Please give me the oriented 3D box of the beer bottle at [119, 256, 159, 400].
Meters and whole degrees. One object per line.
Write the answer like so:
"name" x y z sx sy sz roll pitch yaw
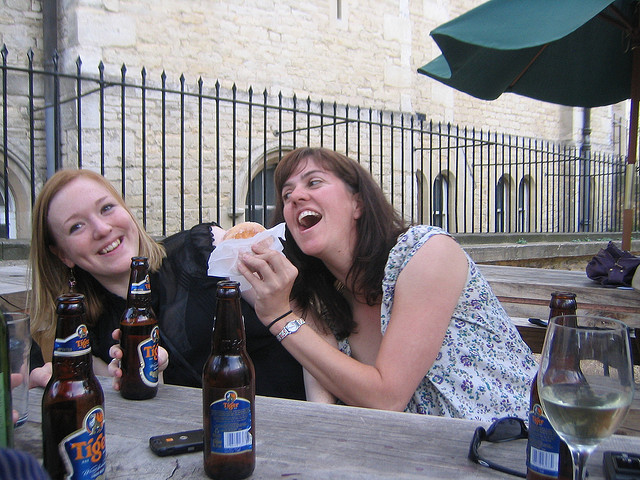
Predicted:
"beer bottle" -0.672 0.321 2.117 0.142 0.501 0.143 0 8 0

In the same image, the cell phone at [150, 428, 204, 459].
"cell phone" -0.444 0.620 1.772 0.129 0.021 0.077 -4 11 -25

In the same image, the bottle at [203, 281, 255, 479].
"bottle" -0.270 0.403 1.674 0.151 0.546 0.168 -2 8 -11

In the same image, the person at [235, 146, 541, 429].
"person" 0.362 0.166 3.368 1.050 0.907 2.037 -13 39 -27

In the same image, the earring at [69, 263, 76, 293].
"earring" -1.265 0.190 2.950 0.032 0.125 0.083 -4 9 -25
